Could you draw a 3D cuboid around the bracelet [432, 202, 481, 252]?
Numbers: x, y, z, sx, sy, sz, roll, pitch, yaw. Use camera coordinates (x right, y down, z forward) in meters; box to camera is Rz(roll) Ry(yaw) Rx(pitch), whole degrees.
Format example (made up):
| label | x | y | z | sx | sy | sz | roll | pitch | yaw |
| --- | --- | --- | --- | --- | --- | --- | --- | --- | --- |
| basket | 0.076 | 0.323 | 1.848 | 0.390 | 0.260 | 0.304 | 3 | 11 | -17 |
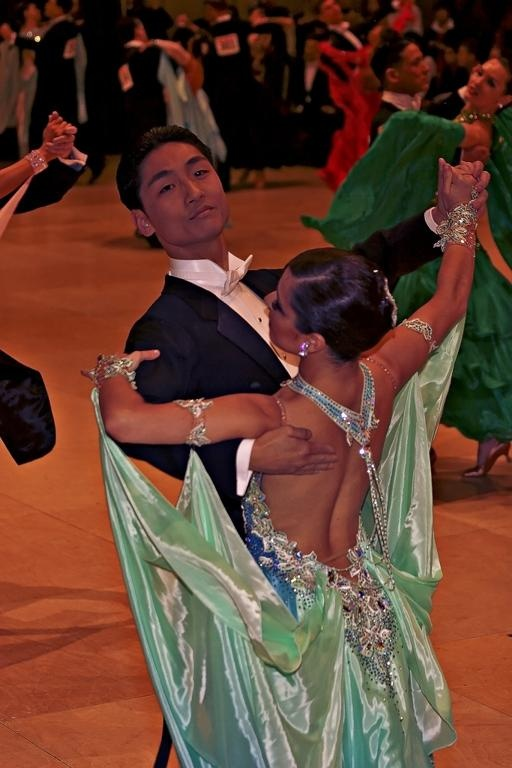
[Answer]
| label | x | y | z | sx | sy | sz | roll | pitch | yaw |
| --- | --- | --- | --- | --- | --- | --- | --- | --- | --- |
| bracelet | 0.412 | -0.322 | 1.520 | 0.096 | 0.084 | 0.035 | -17 | -26 | 38 |
